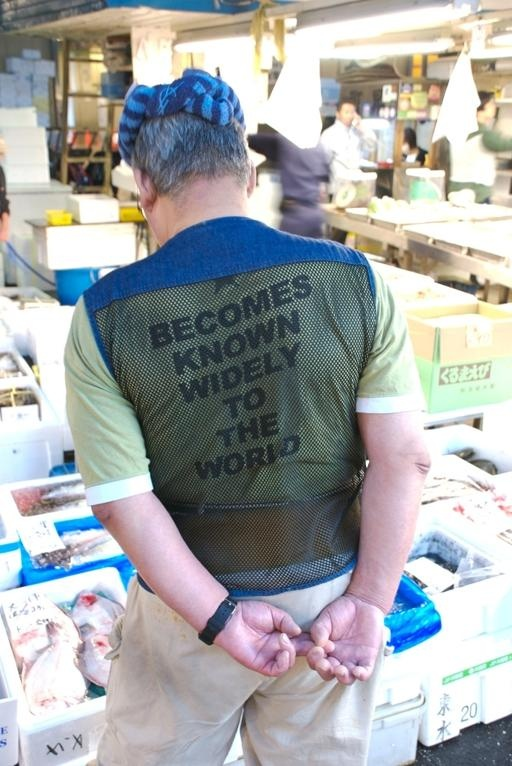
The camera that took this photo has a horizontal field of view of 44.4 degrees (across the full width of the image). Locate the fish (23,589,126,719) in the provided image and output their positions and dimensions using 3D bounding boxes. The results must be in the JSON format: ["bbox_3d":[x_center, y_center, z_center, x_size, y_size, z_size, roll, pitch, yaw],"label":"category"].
[{"bbox_3d":[-0.454,0.658,1.522,0.317,0.084,0.296,9,50,-39],"label":"fish"}]

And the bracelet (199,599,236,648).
[{"bbox_3d":[-0.052,0.314,0.823,0.020,0.059,0.044,34,-5,-11],"label":"bracelet"}]
